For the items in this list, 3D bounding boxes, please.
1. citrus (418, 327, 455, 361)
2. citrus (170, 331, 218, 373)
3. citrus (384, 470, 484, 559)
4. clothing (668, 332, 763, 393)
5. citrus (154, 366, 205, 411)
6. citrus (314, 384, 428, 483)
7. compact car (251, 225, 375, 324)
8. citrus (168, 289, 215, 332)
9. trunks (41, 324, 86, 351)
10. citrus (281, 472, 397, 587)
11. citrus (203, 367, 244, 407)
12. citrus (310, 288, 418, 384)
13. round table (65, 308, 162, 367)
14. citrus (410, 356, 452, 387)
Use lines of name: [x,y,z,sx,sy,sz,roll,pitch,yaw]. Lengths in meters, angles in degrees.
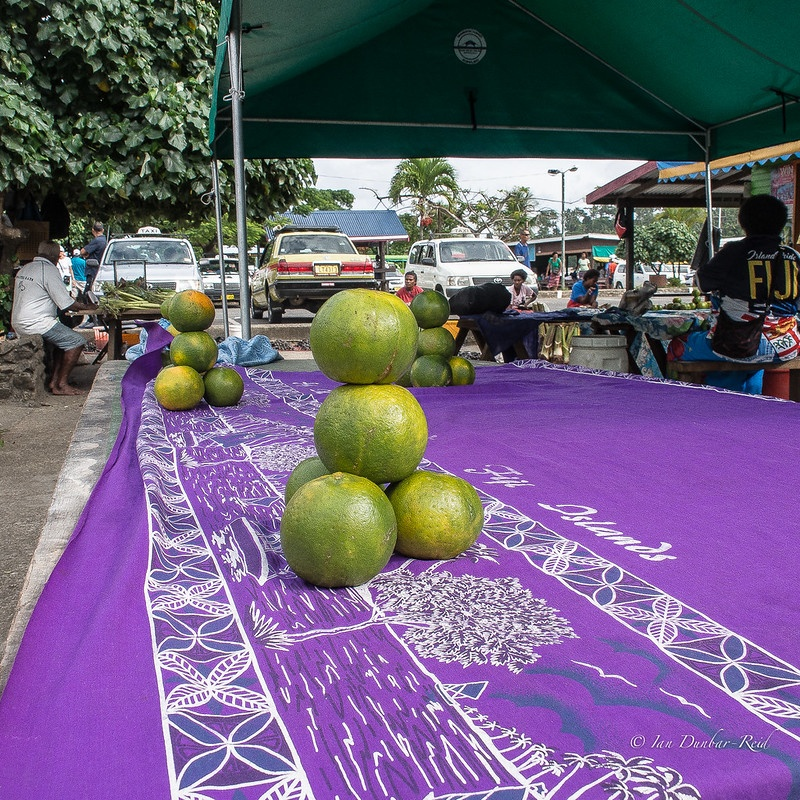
citrus: [0.189,-0.285,3.675,0.203,0.256,0.211,1,-34,-1]
citrus: [-1.009,-0.246,3.216,0.212,0.221,0.206,1,0,-7]
citrus: [0.069,0.234,1.346,0.173,0.140,0.169,0,5,-10]
clothing: [2.350,-0.274,4.860,0.725,0.344,0.505,3,17,1]
citrus: [-1.044,-0.088,3.141,0.204,0.212,0.210,8,14,35]
citrus: [-0.057,0.057,1.288,0.206,0.203,0.201,-1,6,-8]
compact car: [-2.306,-3.187,16.445,2.244,2.005,5.352,-1,13,-9]
citrus: [-1.065,-0.477,3.371,0.237,0.248,0.232,1,16,-9]
trunks: [-3.812,-0.745,7.344,0.421,0.266,0.164,19,-15,-29]
citrus: [-0.102,0.234,1.174,0.200,0.205,0.196,1,0,-2]
citrus: [-0.873,-0.070,3.228,0.191,0.203,0.185,-2,4,-15]
citrus: [-0.081,-0.145,1.328,0.211,0.199,0.204,0,11,-4]
round table: [-3.503,-0.948,8.106,1.009,0.690,1.032,2,12,-1]
citrus: [0.173,-0.161,3.583,0.182,0.191,0.178,-3,-3,-9]
